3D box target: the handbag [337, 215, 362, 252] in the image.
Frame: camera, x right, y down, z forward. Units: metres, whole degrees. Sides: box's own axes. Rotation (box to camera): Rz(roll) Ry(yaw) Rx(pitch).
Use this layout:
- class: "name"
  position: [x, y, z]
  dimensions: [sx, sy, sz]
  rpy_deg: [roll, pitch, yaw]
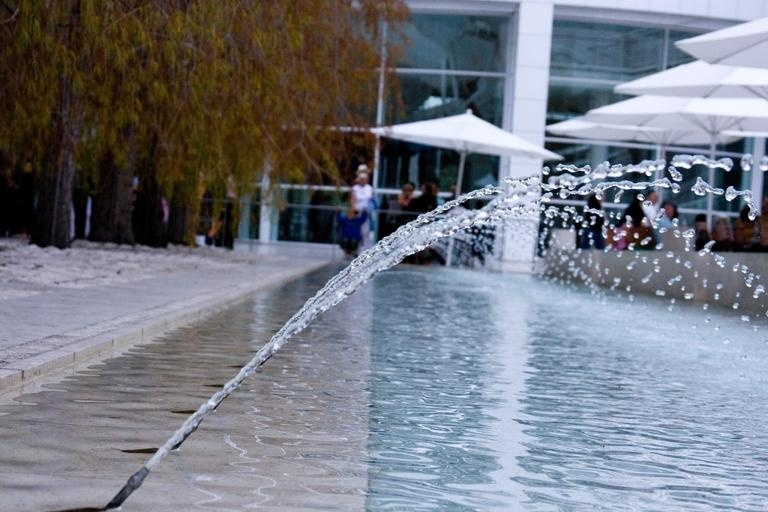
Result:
- class: "handbag"
  position: [-0.747, -0.544, 26.999]
  dimensions: [0.650, 0.745, 0.277]
  rpy_deg: [3, 3, 12]

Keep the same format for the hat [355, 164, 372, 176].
- class: "hat"
  position: [-0.438, -1.915, 26.271]
  dimensions: [0.280, 0.149, 0.278]
  rpy_deg: [-5, 5, -33]
